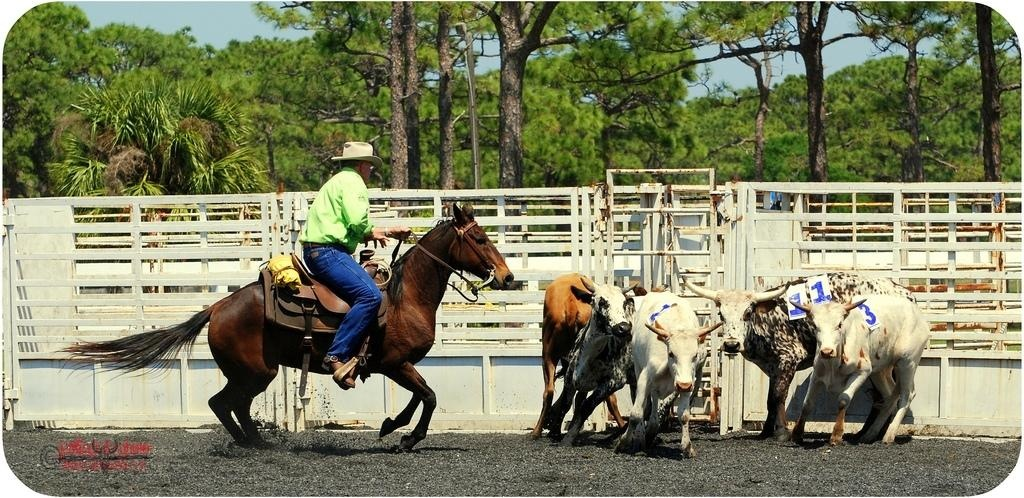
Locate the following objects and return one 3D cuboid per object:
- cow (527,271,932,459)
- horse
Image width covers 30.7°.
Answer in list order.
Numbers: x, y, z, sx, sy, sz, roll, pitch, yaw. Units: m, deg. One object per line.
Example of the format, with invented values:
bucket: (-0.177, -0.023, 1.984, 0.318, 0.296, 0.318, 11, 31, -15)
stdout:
cow: (5.877, 3.064, 56.826, 12.497, 5.073, 4.179, 0, -10, 3)
horse: (-6.784, 2.474, 55.602, 14.559, 6.521, 2.881, -2, -7, 18)
